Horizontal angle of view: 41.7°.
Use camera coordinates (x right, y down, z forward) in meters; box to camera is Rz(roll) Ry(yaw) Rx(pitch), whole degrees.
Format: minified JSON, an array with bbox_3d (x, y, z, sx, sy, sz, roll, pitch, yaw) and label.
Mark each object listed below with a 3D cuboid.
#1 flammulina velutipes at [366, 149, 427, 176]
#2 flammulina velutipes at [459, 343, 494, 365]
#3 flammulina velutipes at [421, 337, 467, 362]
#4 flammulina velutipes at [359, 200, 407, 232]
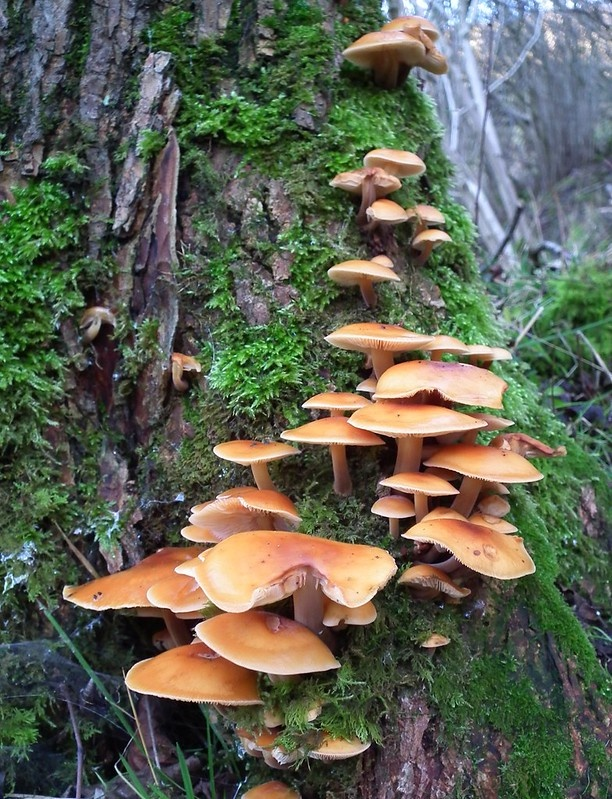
[{"bbox_3d":[0.571,-1.529,5.180,0.279,0.115,0.250,8,9,12],"label":"flammulina velutipes"},{"bbox_3d":[1.044,-0.276,4.859,0.198,0.093,0.175,-3,9,2],"label":"flammulina velutipes"},{"bbox_3d":[0.830,-0.262,4.654,0.221,0.107,0.197,6,4,-22],"label":"flammulina velutipes"},{"bbox_3d":[0.487,-1.140,5.080,0.229,0.120,0.215,26,45,20],"label":"flammulina velutipes"}]
